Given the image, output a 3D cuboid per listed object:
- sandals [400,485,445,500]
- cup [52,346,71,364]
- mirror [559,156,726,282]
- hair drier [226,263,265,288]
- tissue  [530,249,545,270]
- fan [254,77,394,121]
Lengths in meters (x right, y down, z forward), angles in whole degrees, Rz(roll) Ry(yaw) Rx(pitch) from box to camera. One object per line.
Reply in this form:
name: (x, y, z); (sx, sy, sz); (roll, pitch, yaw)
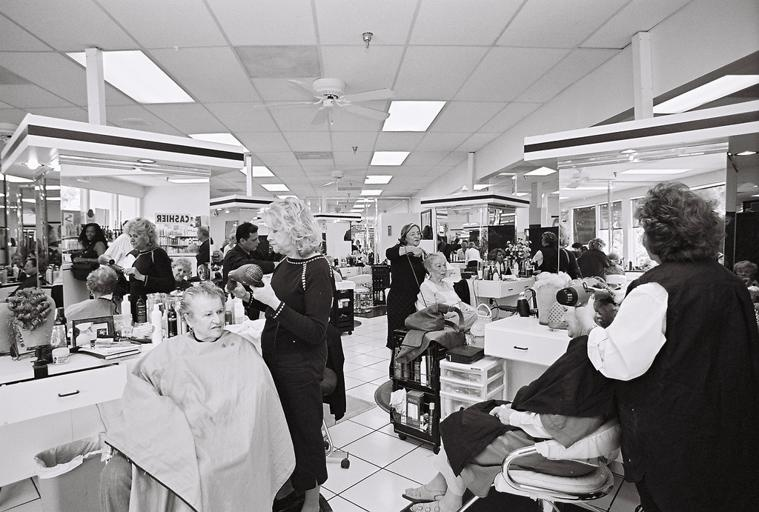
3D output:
sandals: (0.315, 1.763, 4.150); (0.306, 0.090, 0.110); (2, -19, 6)
cup: (-2.310, 0.721, 4.061); (0.105, 0.105, 0.113); (-2, -10, 0)
mirror: (2.054, -0.319, 4.360); (0.029, 1.060, 1.087); (7, -9, -17)
hair drier: (-0.909, 0.133, 3.761); (0.214, 0.128, 0.102); (-13, 22, 28)
tissue : (2.043, 0.042, 7.343); (0.144, 0.264, 0.210); (5, 1, 25)
fan: (-0.492, -1.755, 6.223); (0.704, 0.164, 0.760); (-5, -9, 36)
